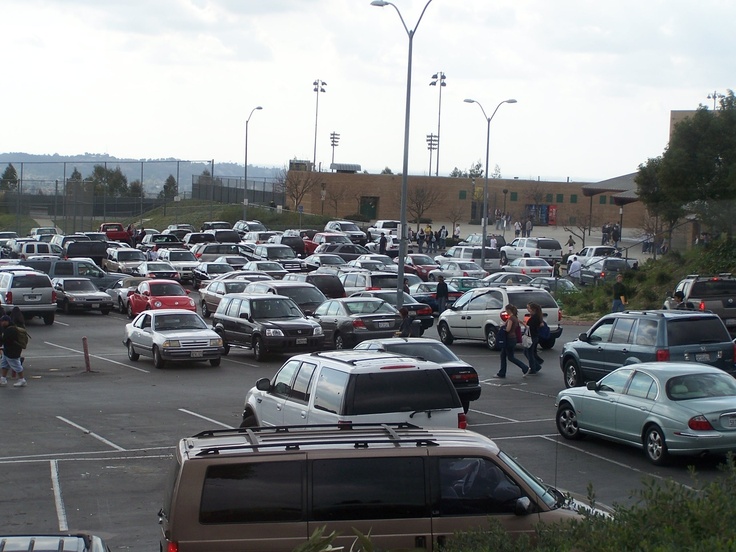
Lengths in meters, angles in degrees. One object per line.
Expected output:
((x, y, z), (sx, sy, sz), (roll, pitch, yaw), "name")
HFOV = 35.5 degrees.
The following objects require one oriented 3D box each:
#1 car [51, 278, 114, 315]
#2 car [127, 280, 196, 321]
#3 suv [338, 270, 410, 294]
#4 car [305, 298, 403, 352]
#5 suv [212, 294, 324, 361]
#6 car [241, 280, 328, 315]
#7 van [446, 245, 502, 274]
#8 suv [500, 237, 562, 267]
((-11.491, 0.798, 44.863), (1.345, 1.225, 3.226), (-1, 1, -40), "car")
((-7.723, 0.945, 41.925), (1.481, 1.144, 2.907), (-1, 2, -32), "car")
((-0.151, 0.206, 41.758), (0.959, 0.859, 2.100), (-3, 10, -28), "suv")
((-0.460, 1.338, 32.977), (1.388, 1.268, 3.470), (-1, 0, -27), "car")
((-2.955, 1.404, 32.380), (1.782, 1.648, 4.277), (0, 0, -34), "suv")
((-2.597, 0.604, 36.898), (1.154, 0.889, 2.097), (-1, 14, -31), "car")
((5.230, -0.976, 57.356), (1.223, 1.021, 2.240), (-5, 14, -32), "van")
((8.512, -1.474, 61.353), (1.540, 1.266, 2.993), (-2, 9, -31), "suv")
